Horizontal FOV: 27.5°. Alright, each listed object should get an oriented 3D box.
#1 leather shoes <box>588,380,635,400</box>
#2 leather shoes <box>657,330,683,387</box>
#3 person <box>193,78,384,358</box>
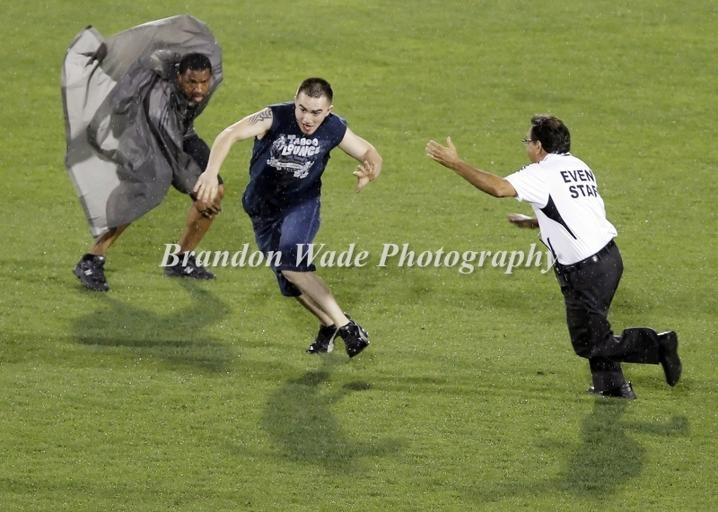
[{"bbox_3d":[2.521,1.299,14.418,0.496,0.179,0.156,7,6,10],"label":"leather shoes"},{"bbox_3d":[3.126,0.992,14.328,0.266,0.551,0.208,-25,22,-37],"label":"leather shoes"},{"bbox_3d":[-0.686,-0.363,14.569,1.705,2.788,0.983,3,19,2],"label":"person"}]
